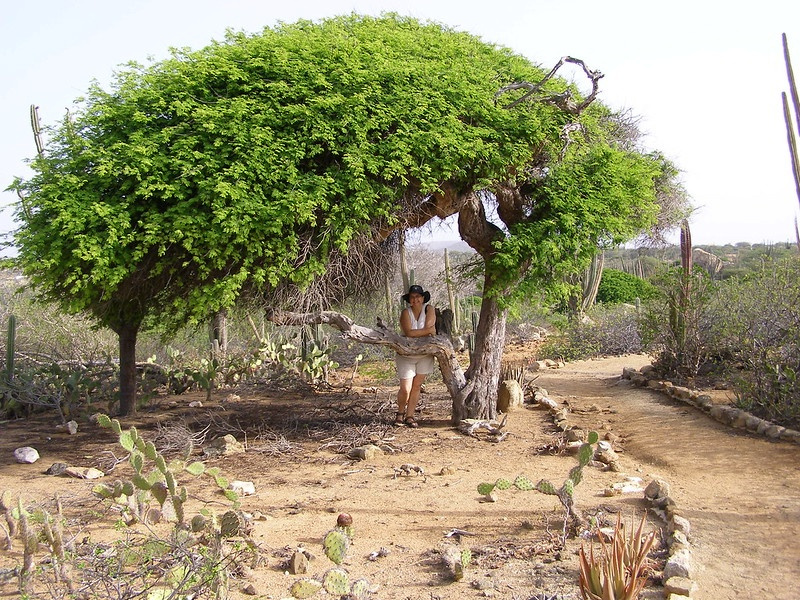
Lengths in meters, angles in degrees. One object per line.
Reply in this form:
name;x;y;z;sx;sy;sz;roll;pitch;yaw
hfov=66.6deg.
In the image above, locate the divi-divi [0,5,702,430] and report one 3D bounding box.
divi-divi;-1.064;-1.523;9.714;8.045;5.374;6.107;-1;0;-8
